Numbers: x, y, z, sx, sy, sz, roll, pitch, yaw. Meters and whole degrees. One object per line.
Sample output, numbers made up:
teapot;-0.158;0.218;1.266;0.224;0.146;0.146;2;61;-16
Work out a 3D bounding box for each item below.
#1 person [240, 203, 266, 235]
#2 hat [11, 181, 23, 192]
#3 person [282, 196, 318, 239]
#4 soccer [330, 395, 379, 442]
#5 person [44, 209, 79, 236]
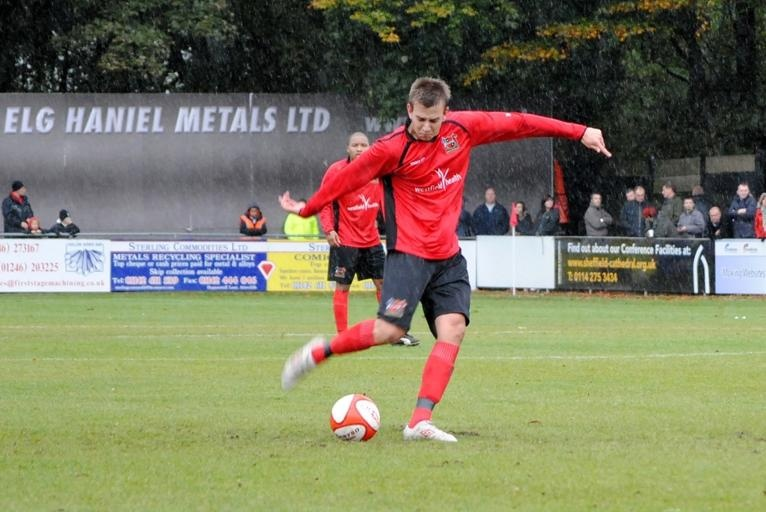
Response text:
person;-3.596;-0.986;40.234;0.681;0.891;0.850;0;1;-3
hat;-10.216;-1.924;40.355;0.264;0.277;0.938;0;2;-14
person;-2.234;-1.111;39.558;1.327;1.306;0.746;-1;-8;-4
soccer;-0.496;2.859;25.452;0.757;0.769;0.763;11;23;-2
person;-9.581;-0.964;42.825;0.776;1.311;0.466;-2;-7;-27
